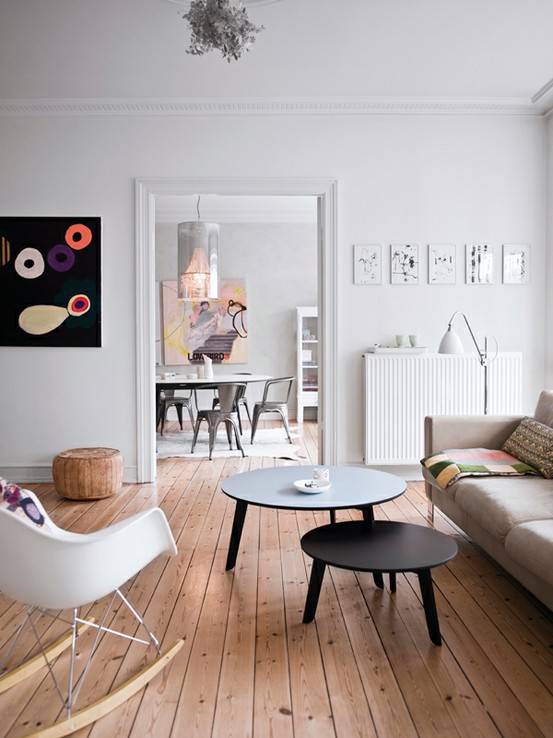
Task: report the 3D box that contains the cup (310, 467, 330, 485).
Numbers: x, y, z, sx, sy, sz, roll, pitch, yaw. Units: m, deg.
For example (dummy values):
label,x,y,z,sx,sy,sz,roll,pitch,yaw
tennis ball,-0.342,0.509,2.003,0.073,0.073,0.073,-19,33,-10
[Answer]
label,x,y,z,sx,sy,sz,roll,pitch,yaw
cup,0.193,0.469,2.450,0.079,0.082,0.047,1,0,-7

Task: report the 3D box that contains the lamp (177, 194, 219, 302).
label,x,y,z,sx,sy,sz,roll,pitch,yaw
lamp,-0.687,-1.089,4.957,0.389,1.005,0.402,-1,-6,9

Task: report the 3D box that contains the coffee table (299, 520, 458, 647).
label,x,y,z,sx,sy,sz,roll,pitch,yaw
coffee table,0.353,0.694,1.919,0.392,0.226,0.399,1,10,-5

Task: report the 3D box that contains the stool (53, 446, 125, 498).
label,x,y,z,sx,sy,sz,roll,pitch,yaw
stool,-1.323,0.716,3.888,0.349,0.237,0.358,0,0,-9

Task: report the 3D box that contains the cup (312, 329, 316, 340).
label,x,y,z,sx,sy,sz,roll,pitch,yaw
cup,0.534,-0.490,7.985,0.078,0.094,0.081,1,-6,0

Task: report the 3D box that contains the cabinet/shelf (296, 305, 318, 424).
label,x,y,z,sx,sy,sz,roll,pitch,yaw
cabinet/shelf,0.428,-0.093,7.880,0.365,1.590,0.268,-3,6,-13

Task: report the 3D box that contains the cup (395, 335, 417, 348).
label,x,y,z,sx,sy,sz,roll,pitch,yaw
cup,0.987,-0.225,4.205,0.110,0.072,0.105,0,5,0

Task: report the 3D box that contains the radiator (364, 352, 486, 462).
label,x,y,z,sx,sy,sz,roll,pitch,yaw
radiator,1.044,0.222,3.902,0.766,0.736,0.193,-1,6,1

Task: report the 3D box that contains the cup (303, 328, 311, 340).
label,x,y,z,sx,sy,sz,roll,pitch,yaw
cup,0.426,-0.500,7.968,0.118,0.230,0.121,0,-5,0

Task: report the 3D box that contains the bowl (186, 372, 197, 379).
label,x,y,z,sx,sy,sz,roll,pitch,yaw
bowl,-0.909,0.065,6.008,0.105,0.049,0.328,-2,5,-4
